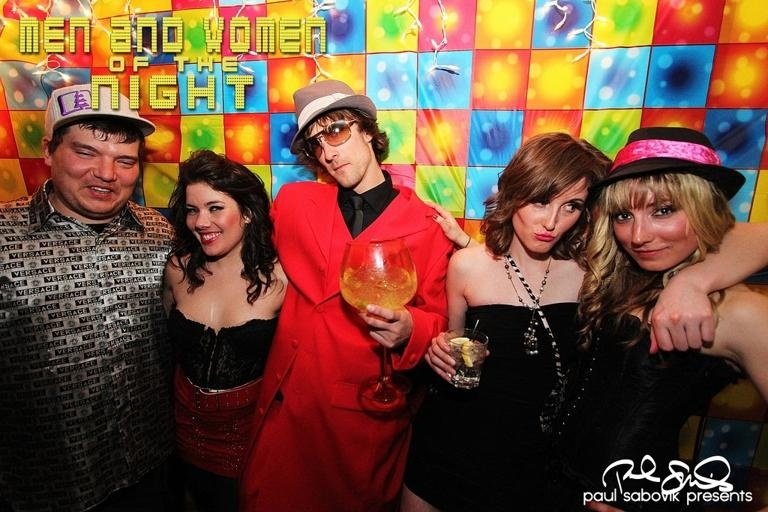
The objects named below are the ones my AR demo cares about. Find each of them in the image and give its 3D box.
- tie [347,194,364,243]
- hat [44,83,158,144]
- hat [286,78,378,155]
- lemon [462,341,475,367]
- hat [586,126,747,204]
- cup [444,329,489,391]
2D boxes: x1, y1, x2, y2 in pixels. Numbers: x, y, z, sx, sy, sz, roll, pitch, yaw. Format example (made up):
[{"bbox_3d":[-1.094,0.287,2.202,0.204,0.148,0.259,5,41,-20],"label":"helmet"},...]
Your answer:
[{"bbox_3d":[-0.151,-0.217,2.991,0.065,0.251,0.038,1,-21,0],"label":"tie"},{"bbox_3d":[-1.620,-0.823,2.921,0.535,0.230,0.408,-5,10,37],"label":"hat"},{"bbox_3d":[-0.328,-0.887,3.150,0.544,0.257,0.471,-18,-1,10],"label":"hat"},{"bbox_3d":[0.394,0.458,2.495,0.051,0.109,0.038,-1,11,-19],"label":"lemon"},{"bbox_3d":[1.423,-0.509,2.687,0.666,0.256,0.625,6,8,35],"label":"hat"},{"bbox_3d":[0.372,0.502,2.636,0.260,0.283,0.264,0,3,0],"label":"cup"}]
